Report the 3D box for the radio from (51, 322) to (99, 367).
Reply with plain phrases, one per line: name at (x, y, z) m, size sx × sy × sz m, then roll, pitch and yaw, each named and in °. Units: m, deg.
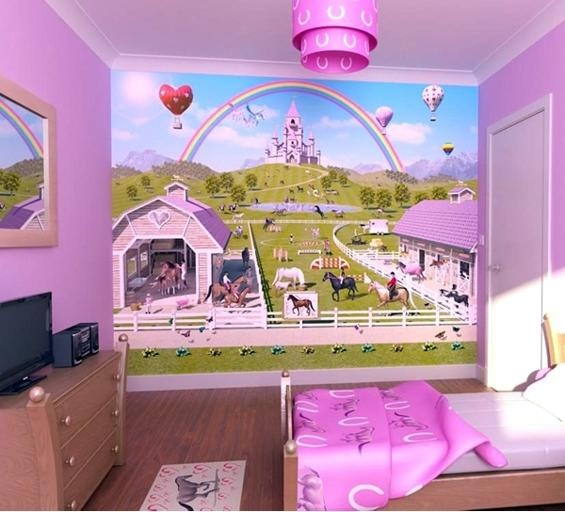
radio at (-1.452, 0.622, 3.083) m, size 0.146 × 0.221 × 0.439 m, roll -1°, pitch 1°, yaw -4°
